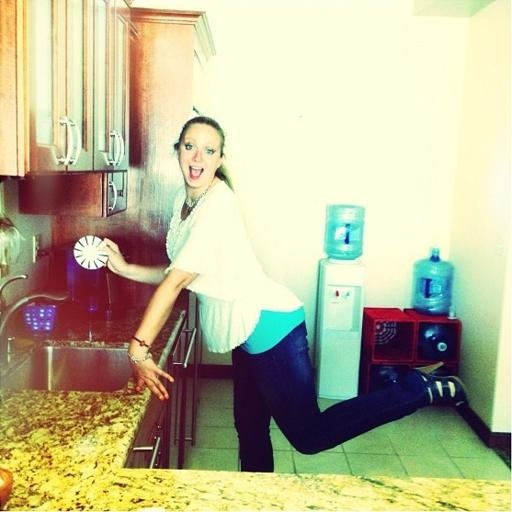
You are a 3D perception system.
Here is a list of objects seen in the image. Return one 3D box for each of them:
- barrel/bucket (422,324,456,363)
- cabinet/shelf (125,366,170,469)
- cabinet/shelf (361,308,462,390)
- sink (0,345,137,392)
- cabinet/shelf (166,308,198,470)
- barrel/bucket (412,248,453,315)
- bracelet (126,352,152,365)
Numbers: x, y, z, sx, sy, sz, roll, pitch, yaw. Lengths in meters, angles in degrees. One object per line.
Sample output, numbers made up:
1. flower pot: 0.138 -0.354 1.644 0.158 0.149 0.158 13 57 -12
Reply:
1. barrel/bucket: 1.189 0.560 3.385 0.218 0.235 0.235 -1 6 0
2. cabinet/shelf: -0.346 0.495 1.638 0.100 0.256 0.268 9 -14 11
3. cabinet/shelf: 0.944 0.686 3.400 0.701 0.698 0.388 5 -2 -19
4. sink: -0.650 0.364 1.734 0.224 0.150 0.226 1 2 -2
5. cabinet/shelf: -0.383 0.818 2.754 0.211 0.526 0.559 0 -15 -4
6. barrel/bucket: 1.276 0.175 3.644 0.250 0.461 0.257 1 4 0
7. bracelet: -0.331 0.291 1.455 0.064 0.034 0.039 1 5 -12
